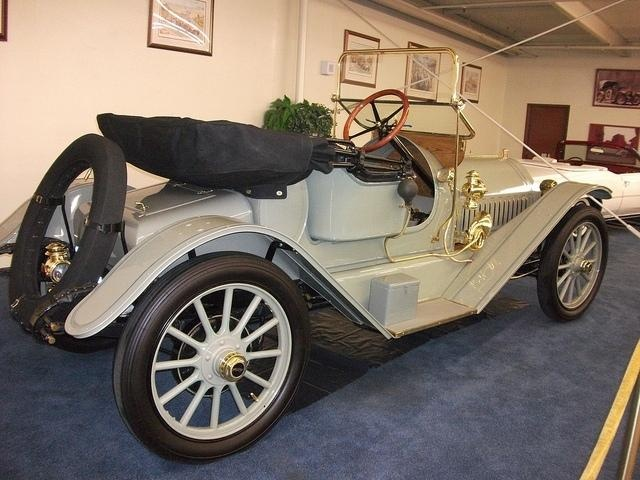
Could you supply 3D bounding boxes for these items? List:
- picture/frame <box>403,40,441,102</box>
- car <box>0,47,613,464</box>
[{"bbox_3d":[0.752,-1.201,3.480,0.231,0.411,0.012,14,53,17],"label":"picture/frame"},{"bbox_3d":[0.232,0.012,3.147,3.646,1.637,1.840,-10,16,-36],"label":"car"}]
